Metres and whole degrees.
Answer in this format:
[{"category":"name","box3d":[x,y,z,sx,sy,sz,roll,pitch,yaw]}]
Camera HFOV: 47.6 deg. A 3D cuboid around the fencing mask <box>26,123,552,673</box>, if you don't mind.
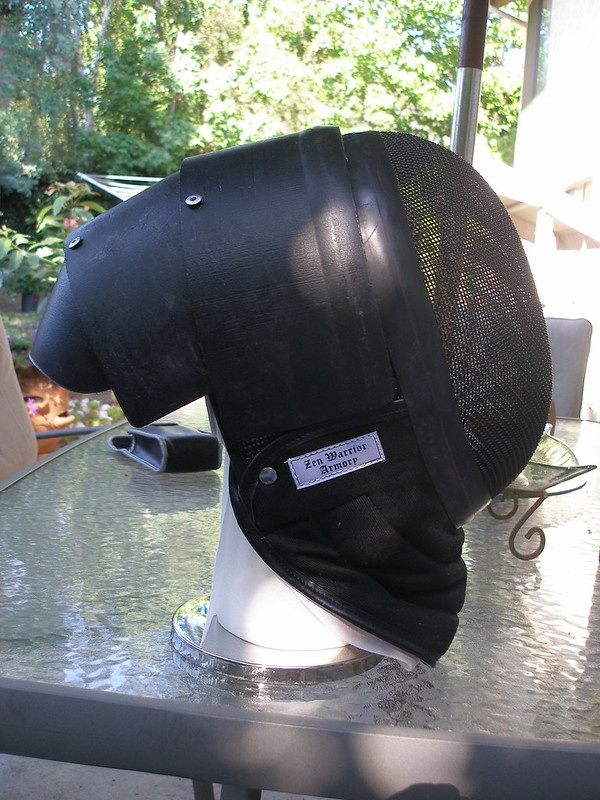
[{"category":"fencing mask","box3d":[-0.015,0.008,0.487,0.365,0.321,0.247,3,5,6]}]
